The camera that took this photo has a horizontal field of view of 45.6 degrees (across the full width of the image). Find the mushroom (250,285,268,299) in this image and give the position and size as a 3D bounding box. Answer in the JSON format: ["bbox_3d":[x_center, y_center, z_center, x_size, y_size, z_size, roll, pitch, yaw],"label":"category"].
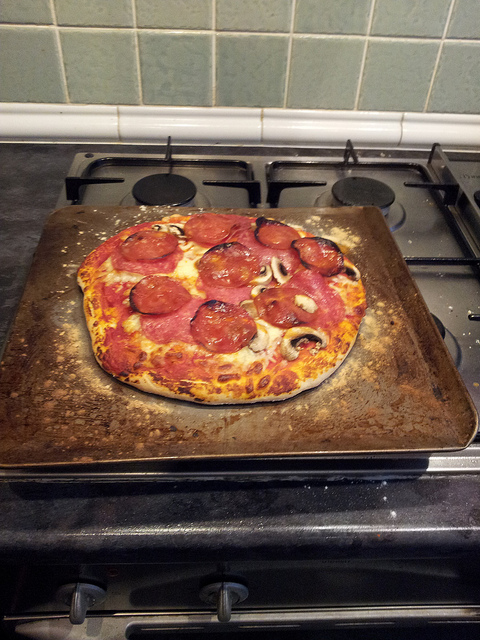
[{"bbox_3d":[0.024,-0.036,0.719,0.020,0.005,0.015,-20,41,-9],"label":"mushroom"}]

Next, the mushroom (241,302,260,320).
[{"bbox_3d":[0.015,-0.012,0.693,0.015,0.004,0.023,-17,49,-13],"label":"mushroom"}]

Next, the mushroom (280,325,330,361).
[{"bbox_3d":[0.071,0.025,0.664,0.048,0.014,0.037,-28,47,-25],"label":"mushroom"}]

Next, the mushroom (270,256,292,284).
[{"bbox_3d":[0.056,-0.065,0.736,0.023,0.008,0.031,-5,57,-13],"label":"mushroom"}]
